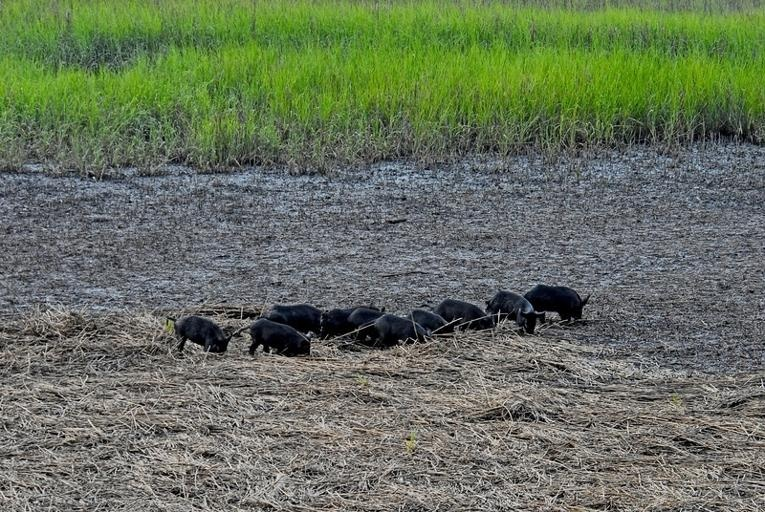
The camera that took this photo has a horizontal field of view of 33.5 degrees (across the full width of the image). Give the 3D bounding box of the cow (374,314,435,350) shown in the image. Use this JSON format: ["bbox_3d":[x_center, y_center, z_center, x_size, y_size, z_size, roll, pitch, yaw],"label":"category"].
[{"bbox_3d":[0.173,0.781,12.923,0.575,0.332,0.130,4,11,12],"label":"cow"}]

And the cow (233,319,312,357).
[{"bbox_3d":[-1.083,0.881,12.848,0.811,0.388,0.196,13,13,6],"label":"cow"}]

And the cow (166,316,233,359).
[{"bbox_3d":[-1.882,0.814,12.775,0.708,0.338,0.219,11,-8,-25],"label":"cow"}]
